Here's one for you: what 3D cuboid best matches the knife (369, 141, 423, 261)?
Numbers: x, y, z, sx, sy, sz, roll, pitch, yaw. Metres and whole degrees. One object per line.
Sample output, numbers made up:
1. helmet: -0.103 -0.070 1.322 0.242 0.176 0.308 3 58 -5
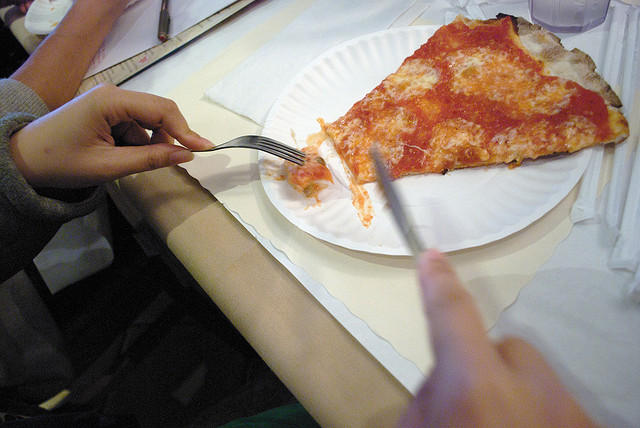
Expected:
1. knife: 0.164 -0.056 1.032 0.048 0.121 0.395 -15 53 -1
